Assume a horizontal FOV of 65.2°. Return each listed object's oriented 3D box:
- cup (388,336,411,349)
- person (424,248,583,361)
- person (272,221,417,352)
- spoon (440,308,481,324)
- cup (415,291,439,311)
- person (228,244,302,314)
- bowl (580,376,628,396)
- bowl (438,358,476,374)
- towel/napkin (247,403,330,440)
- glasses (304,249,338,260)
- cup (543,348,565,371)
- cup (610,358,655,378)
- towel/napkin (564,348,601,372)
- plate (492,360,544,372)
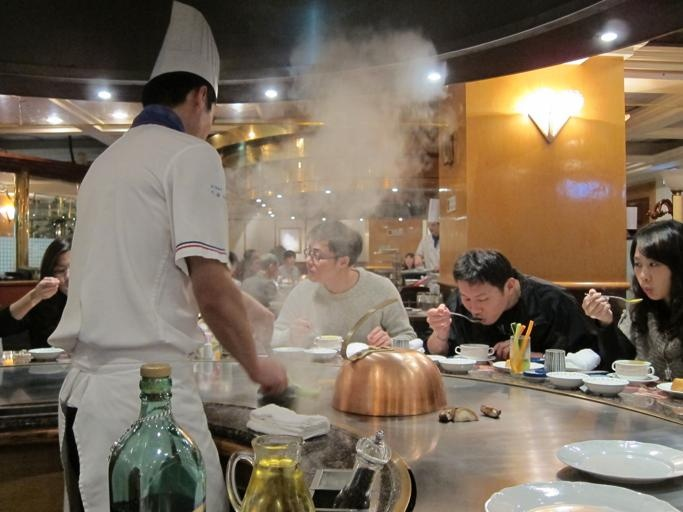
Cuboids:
[{"bbox_3d":[0.270,0.397,2.460,0.092,0.075,0.077,-2,-2,15],"label":"cup"},{"bbox_3d":[1.064,0.428,3.486,0.994,0.869,0.795,-3,2,1],"label":"person"},{"bbox_3d":[0.019,0.241,3.418,0.907,0.900,0.538,0,8,11],"label":"person"},{"bbox_3d":[0.744,0.376,3.326,0.252,0.051,0.041,23,-56,-32],"label":"spoon"},{"bbox_3d":[0.737,0.377,4.486,0.138,0.111,0.146,1,-4,0],"label":"cup"},{"bbox_3d":[-0.898,0.271,6.342,0.739,0.474,1.044,7,1,5],"label":"person"},{"bbox_3d":[1.040,0.498,2.117,0.147,0.058,0.293,0,1,24],"label":"bowl"},{"bbox_3d":[0.542,0.508,2.507,0.178,0.068,0.265,0,1,11],"label":"bowl"},{"bbox_3d":[-0.169,0.501,1.610,0.170,0.055,0.176,-4,-9,39],"label":"towel/napkin"},{"bbox_3d":[-0.117,-0.006,3.223,0.100,0.032,0.099,11,1,-30],"label":"glasses"},{"bbox_3d":[0.943,0.461,2.358,0.080,0.091,0.111,0,1,20],"label":"cup"},{"bbox_3d":[1.293,0.481,2.343,0.137,0.063,0.118,0,-5,27],"label":"cup"},{"bbox_3d":[1.187,0.511,2.619,0.132,0.062,0.164,-3,-4,21],"label":"towel/napkin"},{"bbox_3d":[0.814,0.534,2.606,0.105,0.021,0.104,-4,1,-31],"label":"plate"}]
